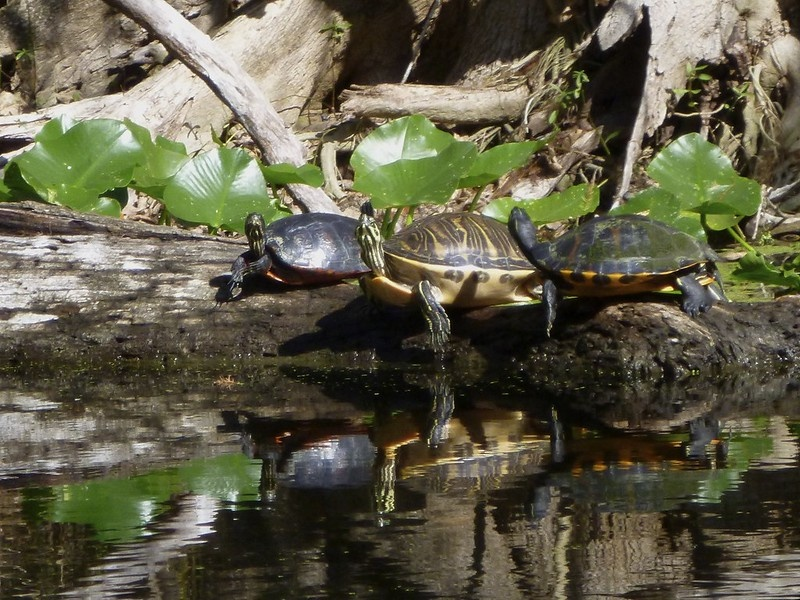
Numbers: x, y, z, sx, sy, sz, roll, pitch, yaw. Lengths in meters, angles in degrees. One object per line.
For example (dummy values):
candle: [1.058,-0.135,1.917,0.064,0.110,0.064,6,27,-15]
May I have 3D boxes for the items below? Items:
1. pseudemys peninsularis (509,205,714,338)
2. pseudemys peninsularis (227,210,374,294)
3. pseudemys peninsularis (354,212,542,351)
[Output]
pseudemys peninsularis: [1.301,-0.190,6.427,1.323,0.401,0.782,-1,-1,10]
pseudemys peninsularis: [-0.714,-0.317,7.255,0.920,0.569,0.568,-2,13,-6]
pseudemys peninsularis: [0.279,-0.244,6.888,1.395,0.467,0.906,-6,15,-32]
